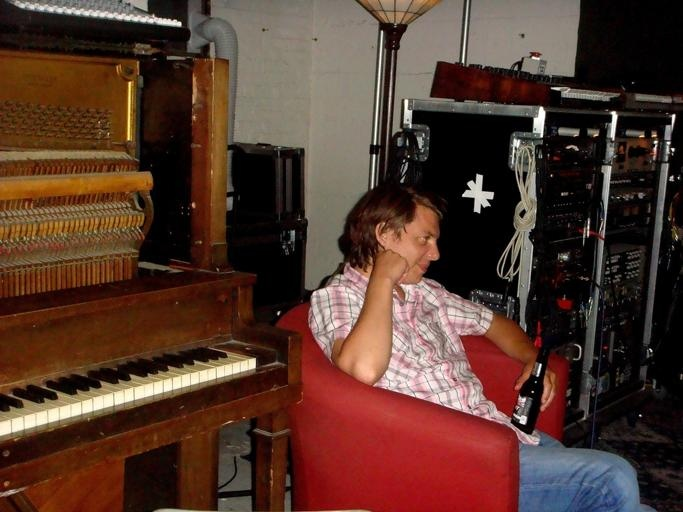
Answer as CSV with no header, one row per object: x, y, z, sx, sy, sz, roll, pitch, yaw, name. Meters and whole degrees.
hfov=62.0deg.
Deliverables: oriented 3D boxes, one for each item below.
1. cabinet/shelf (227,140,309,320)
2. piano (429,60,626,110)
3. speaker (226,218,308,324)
-0.662,-0.164,4.060,0.689,1.081,0.660,-5,11,-35,cabinet/shelf
1.030,-0.901,3.048,1.075,0.222,0.388,0,11,-19,piano
-0.446,0.063,3.347,0.349,0.581,0.622,12,16,37,speaker
